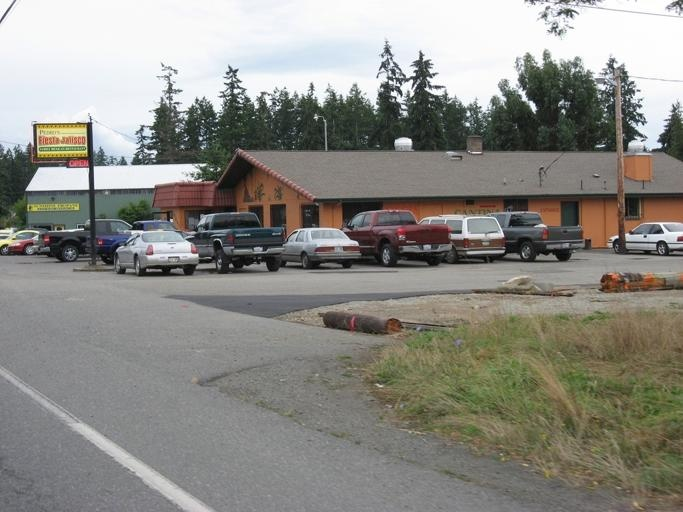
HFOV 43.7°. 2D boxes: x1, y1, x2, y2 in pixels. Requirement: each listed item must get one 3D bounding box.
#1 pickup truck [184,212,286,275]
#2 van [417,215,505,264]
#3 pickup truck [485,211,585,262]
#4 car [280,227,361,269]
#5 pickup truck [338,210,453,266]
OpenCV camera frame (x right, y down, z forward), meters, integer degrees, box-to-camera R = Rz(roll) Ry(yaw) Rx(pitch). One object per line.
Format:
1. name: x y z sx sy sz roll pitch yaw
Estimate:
1. pickup truck: -3.817 -0.538 30.155 1.831 1.394 3.380 -1 4 -26
2. van: 4.760 -0.769 32.375 1.425 1.108 2.774 -2 7 -26
3. pickup truck: 7.546 -0.768 32.408 1.602 1.161 3.065 0 7 -31
4. car: -0.969 -0.291 31.168 1.337 0.937 2.962 -1 -1 -22
5. pickup truck: 2.016 -0.712 31.407 1.717 1.378 3.664 0 6 -27
